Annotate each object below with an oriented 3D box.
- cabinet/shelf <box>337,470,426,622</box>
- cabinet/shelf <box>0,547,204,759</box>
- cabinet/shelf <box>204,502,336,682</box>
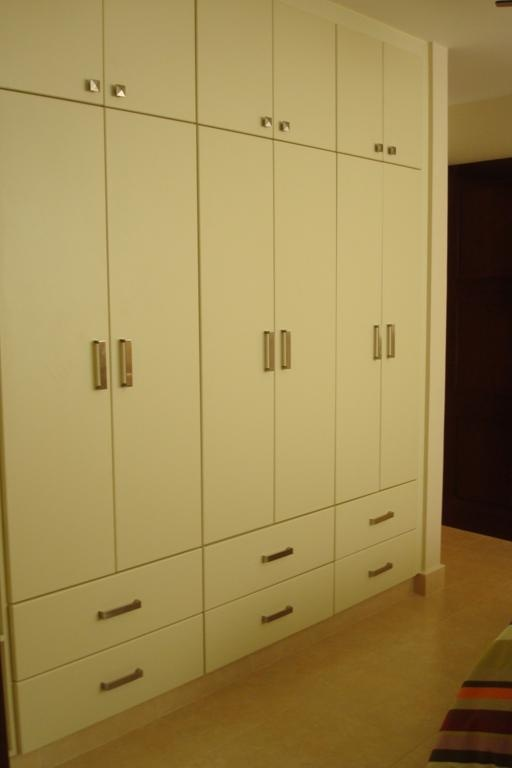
[{"bbox_3d":[0.506,0.656,2.871,0.435,0.496,0.263,-7,14,-29],"label":"cabinet/shelf"},{"bbox_3d":[-0.452,0.665,1.982,0.581,0.541,0.362,-8,29,-27],"label":"cabinet/shelf"},{"bbox_3d":[0.038,0.546,2.247,0.319,0.559,0.605,5,12,45],"label":"cabinet/shelf"}]
